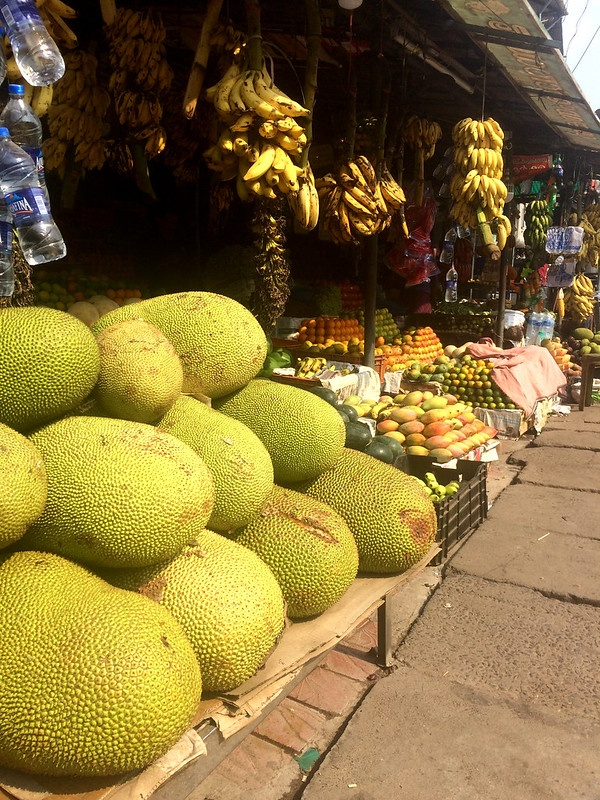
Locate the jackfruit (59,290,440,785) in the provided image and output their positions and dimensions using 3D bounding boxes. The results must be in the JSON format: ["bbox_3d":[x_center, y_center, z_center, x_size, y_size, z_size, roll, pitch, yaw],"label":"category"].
[{"bbox_3d":[-0.382,0.346,2.194,0.351,1.163,1.213,-35,-4,38],"label":"jackfruit"}]
